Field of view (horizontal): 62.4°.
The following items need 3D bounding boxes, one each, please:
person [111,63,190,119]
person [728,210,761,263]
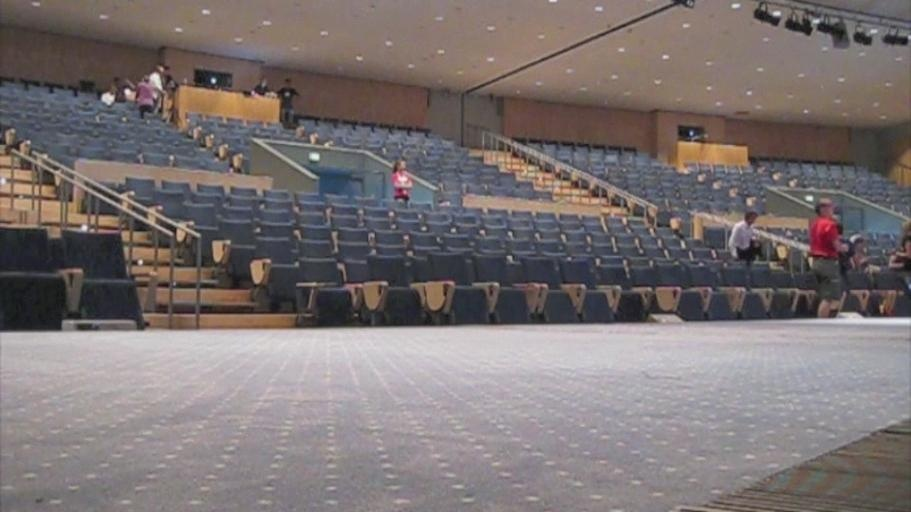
[{"bbox_3d":[-6.562,-3.434,16.082,1.277,0.524,1.805,-4,21,-35],"label":"person"},{"bbox_3d":[4.520,-0.285,11.764,0.417,0.720,0.727,1,-1,22],"label":"person"}]
